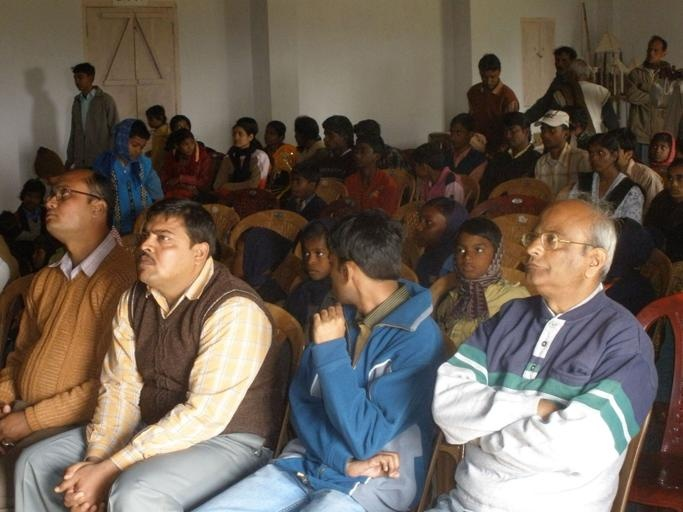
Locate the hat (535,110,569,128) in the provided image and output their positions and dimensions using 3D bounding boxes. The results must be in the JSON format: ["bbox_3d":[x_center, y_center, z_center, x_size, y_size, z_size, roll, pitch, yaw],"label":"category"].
[{"bbox_3d":[1.876,-1.193,4.838,0.229,0.097,0.163,-4,9,-18],"label":"hat"}]

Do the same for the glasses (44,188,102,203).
[{"bbox_3d":[-1.108,-0.249,2.267,0.097,0.030,0.100,-3,-15,36],"label":"glasses"}]
